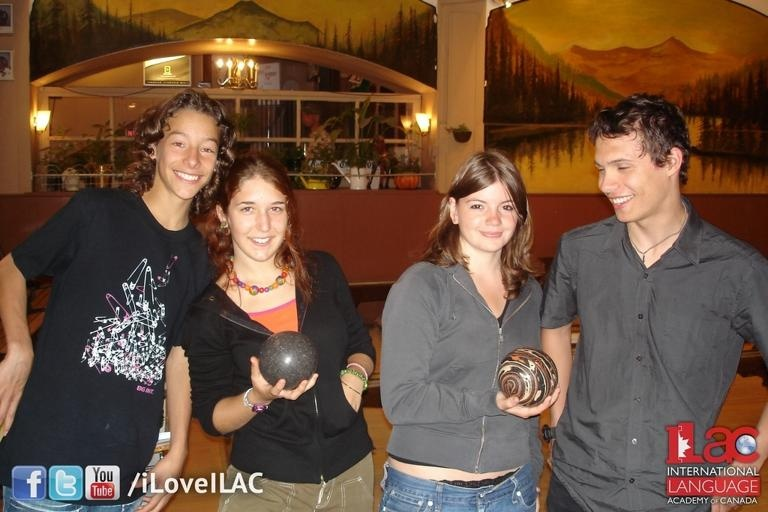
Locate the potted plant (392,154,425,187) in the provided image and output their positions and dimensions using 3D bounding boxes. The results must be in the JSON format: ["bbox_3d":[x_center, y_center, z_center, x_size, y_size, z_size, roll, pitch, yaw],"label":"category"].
[{"bbox_3d":[0.369,-1.441,9.521,0.537,0.560,0.517,-3,4,-13],"label":"potted plant"}]

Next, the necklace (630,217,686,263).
[{"bbox_3d":[1.195,-0.098,2.457,0.169,0.179,0.224,-16,25,23],"label":"necklace"}]

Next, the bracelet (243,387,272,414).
[{"bbox_3d":[-0.519,0.564,2.280,0.107,0.108,0.043,4,12,-2],"label":"bracelet"}]

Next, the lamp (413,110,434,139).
[{"bbox_3d":[0.693,-2.286,9.626,0.374,0.536,0.288,0,4,-2],"label":"lamp"}]

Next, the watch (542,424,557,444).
[{"bbox_3d":[0.766,0.831,2.591,0.068,0.097,0.045,-3,-4,22],"label":"watch"}]

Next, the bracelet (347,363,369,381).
[{"bbox_3d":[-0.118,0.517,2.510,0.084,0.031,0.075,38,-9,-13],"label":"bracelet"}]

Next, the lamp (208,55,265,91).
[{"bbox_3d":[-2.657,-3.221,9.796,0.834,0.569,0.418,3,7,14],"label":"lamp"}]
